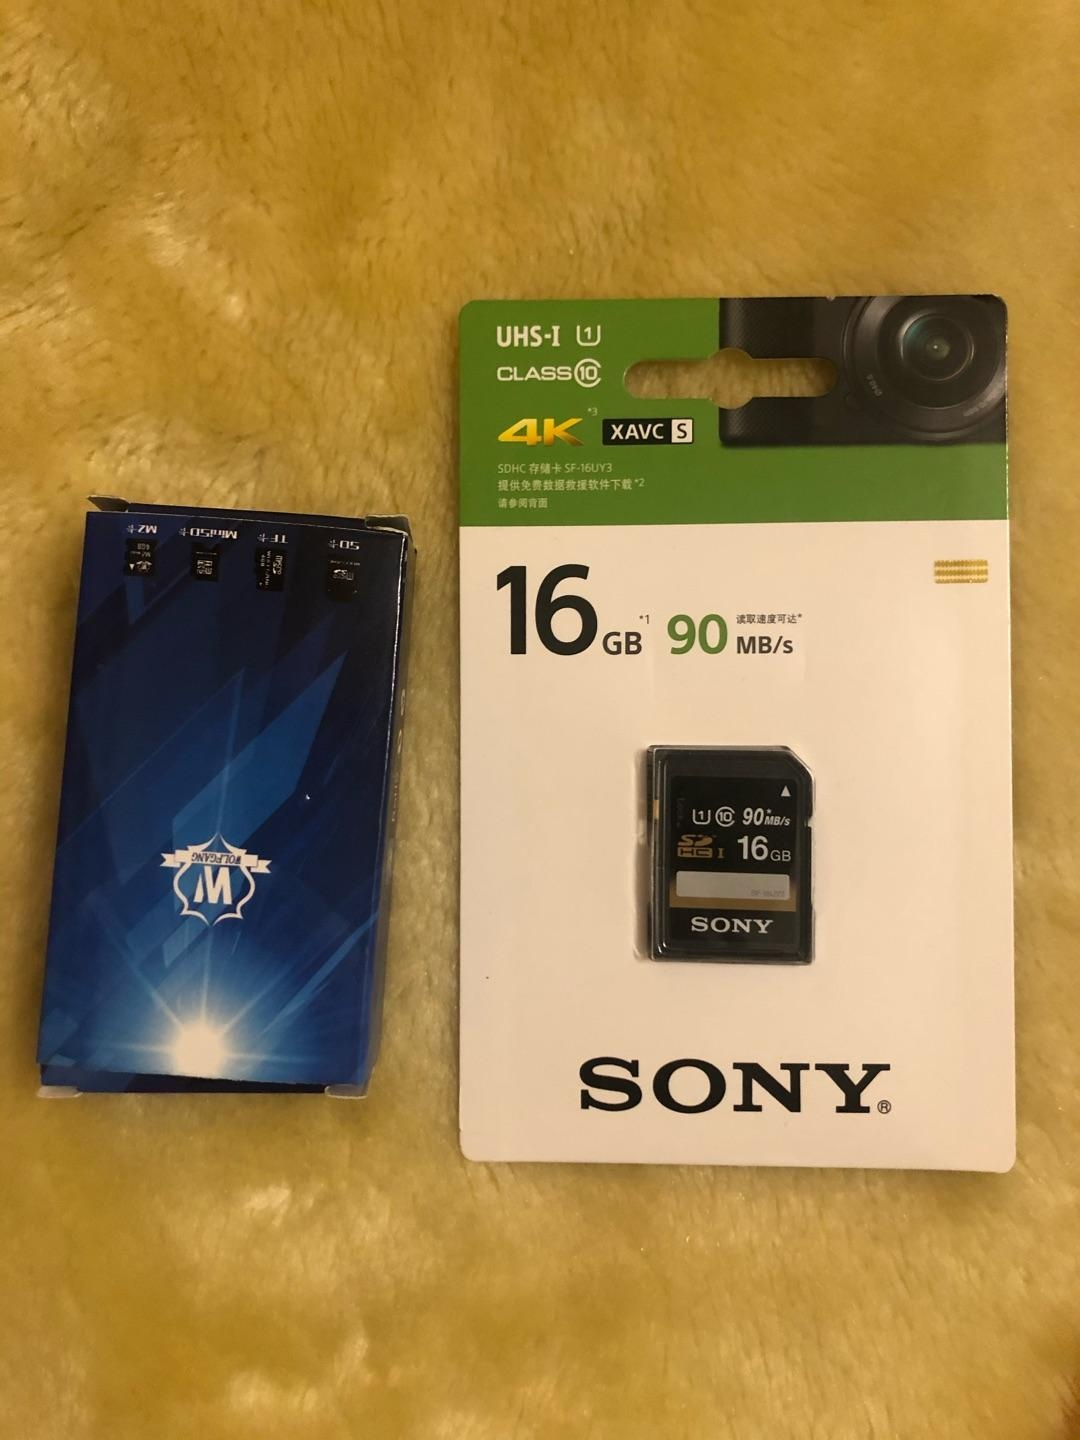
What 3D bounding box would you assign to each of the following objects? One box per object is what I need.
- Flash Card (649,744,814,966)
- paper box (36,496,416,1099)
[{"bbox_3d":[0.142,0.101,0.923,0.119,0.040,0.156,-1,78,8],"label":"Flash Card"},{"bbox_3d":[-0.239,0.046,0.910,0.266,0.130,0.422,3,88,0],"label":"paper box"}]
